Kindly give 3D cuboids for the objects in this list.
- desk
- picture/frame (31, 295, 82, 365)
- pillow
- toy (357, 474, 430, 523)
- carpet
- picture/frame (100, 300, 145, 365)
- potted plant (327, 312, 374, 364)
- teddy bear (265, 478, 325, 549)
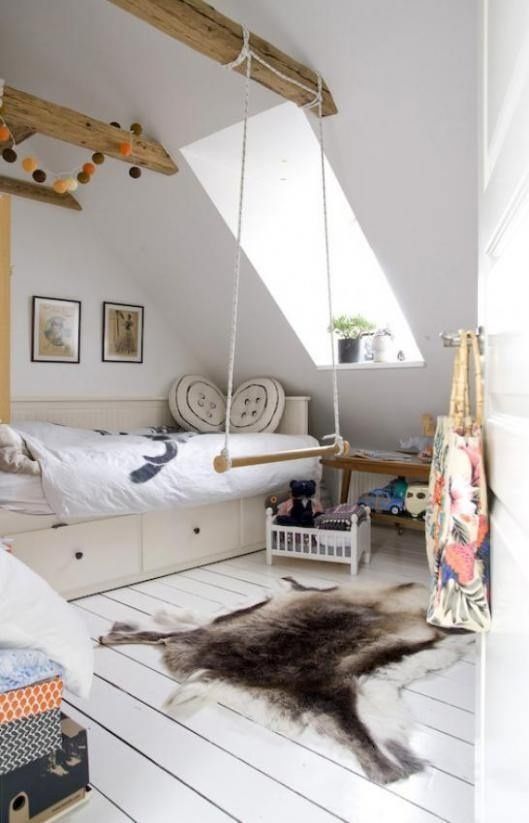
[{"bbox_3d":[0.668,0.536,3.727,0.599,0.546,0.985,0,1,6],"label":"desk"},{"bbox_3d":[-1.324,-0.520,3.716,0.040,0.565,0.413,7,8,39],"label":"picture/frame"},{"bbox_3d":[-0.259,-0.031,4.103,0.501,0.531,0.208,-1,-30,-1],"label":"pillow"},{"bbox_3d":[0.787,0.532,3.579,0.348,0.169,0.217,-2,0,35],"label":"toy"},{"bbox_3d":[0.093,0.824,2.006,1.121,0.018,0.962,0,1,32],"label":"carpet"},{"bbox_3d":[-0.993,-0.554,4.071,0.037,0.563,0.413,8,10,39],"label":"picture/frame"},{"bbox_3d":[0.527,-0.430,3.521,0.236,0.297,0.179,0,1,10],"label":"potted plant"},{"bbox_3d":[0.193,0.524,3.265,0.288,0.293,0.186,-1,-12,-1],"label":"teddy bear"}]
